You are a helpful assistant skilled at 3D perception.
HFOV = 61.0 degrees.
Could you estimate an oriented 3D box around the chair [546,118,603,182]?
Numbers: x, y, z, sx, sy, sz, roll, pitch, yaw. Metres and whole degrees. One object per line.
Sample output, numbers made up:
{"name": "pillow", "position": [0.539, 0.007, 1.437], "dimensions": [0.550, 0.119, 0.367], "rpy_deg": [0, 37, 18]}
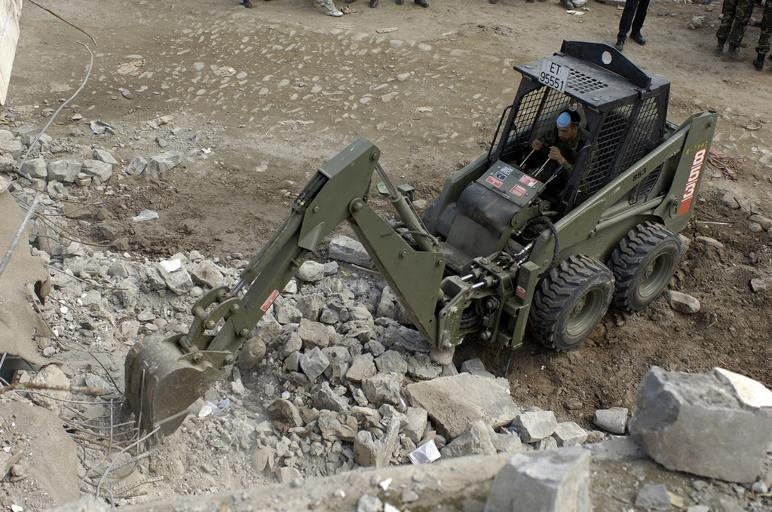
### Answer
{"name": "chair", "position": [2.230, -1.230, 7.690], "dimensions": [0.412, 0.594, 0.409], "rpy_deg": [-37, 58, -11]}

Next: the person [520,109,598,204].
{"name": "person", "position": [2.014, -1.175, 7.972], "dimensions": [1.055, 1.182, 0.652], "rpy_deg": [-11, 22, -31]}

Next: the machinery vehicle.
{"name": "machinery vehicle", "position": [0.544, -0.261, 7.563], "dimensions": [6.971, 3.254, 2.605], "rpy_deg": [-24, 42, -23]}
